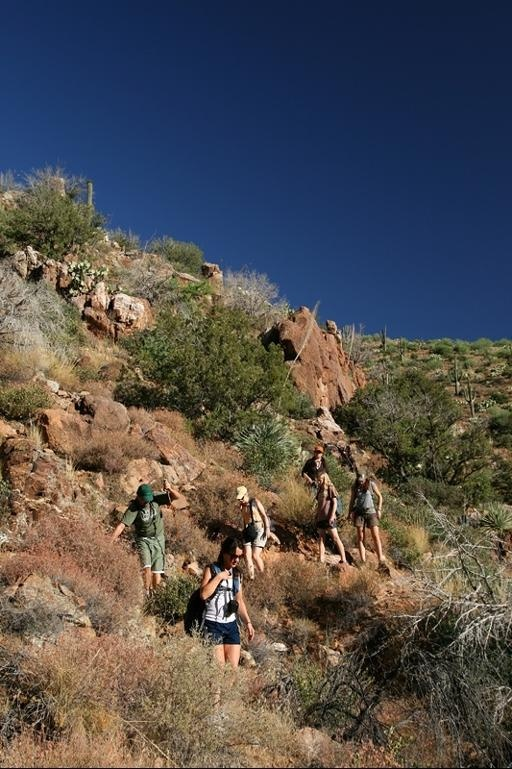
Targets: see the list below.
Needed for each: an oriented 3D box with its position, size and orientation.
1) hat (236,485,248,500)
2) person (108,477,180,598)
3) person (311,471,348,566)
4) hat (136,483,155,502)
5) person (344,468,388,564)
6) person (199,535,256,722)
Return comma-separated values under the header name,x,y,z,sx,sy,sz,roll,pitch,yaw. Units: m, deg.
name,x,y,z,sx,sy,sz,roll,pitch,yaw
hat,-0.199,1.453,9.741,0.137,0.222,0.340,9,-20,0
person,-1.402,1.931,8.932,0.959,1.635,0.642,-2,-11,-23
person,1.103,2.046,10.821,0.626,1.324,0.583,13,-19,-12
hat,-1.317,1.267,8.577,0.152,0.131,0.241,1,22,-21
person,1.729,2.088,11.149,0.667,1.474,1.051,5,-19,10
person,-0.290,2.224,6.897,0.551,1.433,1.861,8,-20,2
